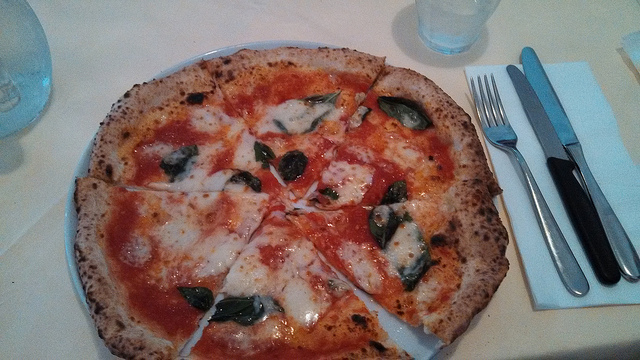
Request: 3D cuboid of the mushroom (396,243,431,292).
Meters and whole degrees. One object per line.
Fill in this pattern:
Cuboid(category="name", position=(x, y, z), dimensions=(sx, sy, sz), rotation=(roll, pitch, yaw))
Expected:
Cuboid(category="mushroom", position=(0.520, 0.436, 3.234), dimensions=(0.221, 0.341, 0.080), rotation=(-22, -74, 9))
